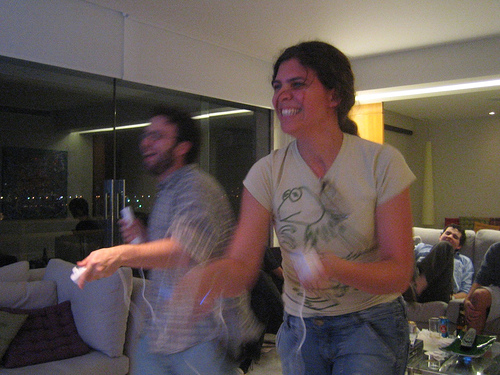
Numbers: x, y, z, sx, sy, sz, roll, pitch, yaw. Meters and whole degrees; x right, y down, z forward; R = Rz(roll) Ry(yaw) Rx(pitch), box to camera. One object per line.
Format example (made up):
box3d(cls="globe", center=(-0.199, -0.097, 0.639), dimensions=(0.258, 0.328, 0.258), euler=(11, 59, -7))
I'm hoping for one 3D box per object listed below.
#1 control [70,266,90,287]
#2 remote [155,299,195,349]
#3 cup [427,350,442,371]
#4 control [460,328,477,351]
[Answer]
box3d(cls="control", center=(-0.464, 0.232, 1.129), dimensions=(0.032, 0.056, 0.124), euler=(-1, 1, -28))
box3d(cls="remote", center=(-0.170, 0.312, 0.954), dimensions=(0.095, 0.204, 0.007), euler=(10, 35, -3))
box3d(cls="cup", center=(1.173, 1.104, 2.681), dimensions=(0.069, 0.033, 0.092), euler=(-1, 0, 11))
box3d(cls="control", center=(1.407, 0.965, 2.723), dimensions=(0.060, 0.052, 0.190), euler=(-4, 23, 35))
